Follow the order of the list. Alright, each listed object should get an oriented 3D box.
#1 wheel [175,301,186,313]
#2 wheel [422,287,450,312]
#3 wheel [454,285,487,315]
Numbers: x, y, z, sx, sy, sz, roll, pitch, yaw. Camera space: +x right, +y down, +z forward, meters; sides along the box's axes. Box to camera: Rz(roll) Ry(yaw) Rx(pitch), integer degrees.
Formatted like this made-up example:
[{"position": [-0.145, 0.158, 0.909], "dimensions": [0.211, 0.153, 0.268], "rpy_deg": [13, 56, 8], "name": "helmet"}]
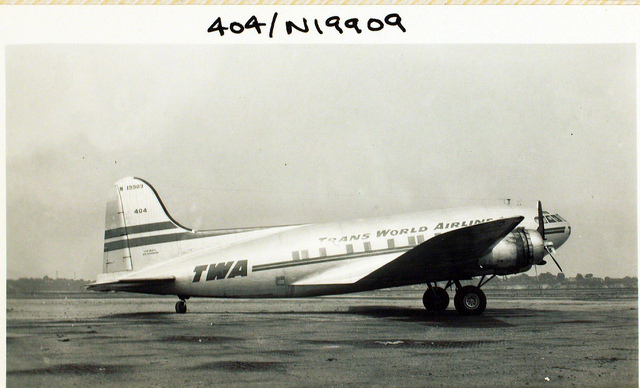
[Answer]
[{"position": [-5.825, 4.745, 32.009], "dimensions": [0.388, 0.608, 0.395], "rpy_deg": [-1, 9, 0], "name": "wheel"}, {"position": [4.797, 4.400, 31.826], "dimensions": [1.030, 1.062, 0.346], "rpy_deg": [0, 10, 6], "name": "wheel"}, {"position": [5.924, 4.248, 30.414], "dimensions": [1.256, 1.215, 0.507], "rpy_deg": [-3, -5, -2], "name": "wheel"}]
